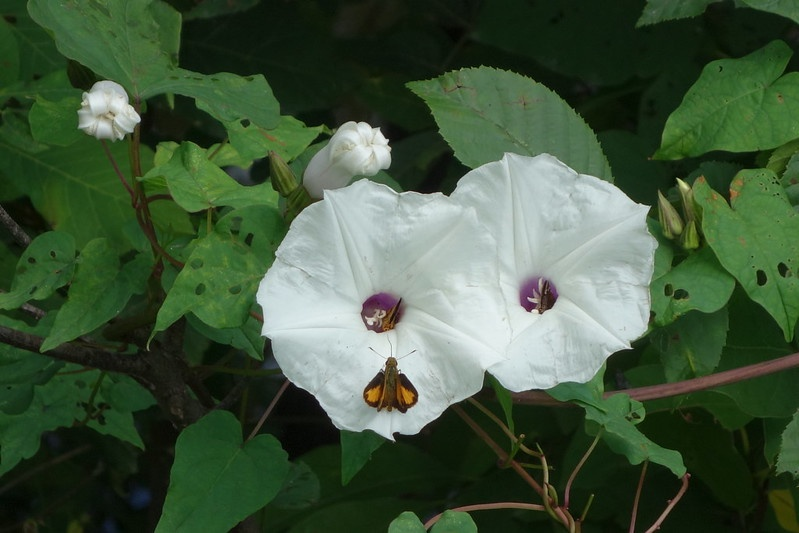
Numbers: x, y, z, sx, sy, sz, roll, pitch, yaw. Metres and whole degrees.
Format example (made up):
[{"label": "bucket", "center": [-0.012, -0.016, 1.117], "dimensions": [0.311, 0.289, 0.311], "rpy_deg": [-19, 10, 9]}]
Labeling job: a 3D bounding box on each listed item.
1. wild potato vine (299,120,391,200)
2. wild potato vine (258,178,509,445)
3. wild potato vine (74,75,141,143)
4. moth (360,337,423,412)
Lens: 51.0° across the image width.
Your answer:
[{"label": "wild potato vine", "center": [-0.167, -0.274, 2.410], "dimensions": [0.150, 0.257, 0.158], "rpy_deg": [29, 14, -24]}, {"label": "wild potato vine", "center": [-0.041, 0.111, 2.254], "dimensions": [0.672, 0.280, 0.593], "rpy_deg": [11, 60, -4]}, {"label": "wild potato vine", "center": [-0.807, -0.436, 2.370], "dimensions": [0.182, 0.184, 0.099], "rpy_deg": [28, 92, 1]}, {"label": "moth", "center": [-0.023, 0.303, 2.232], "dimensions": [0.146, 0.075, 0.157], "rpy_deg": [2, 60, -9]}]
